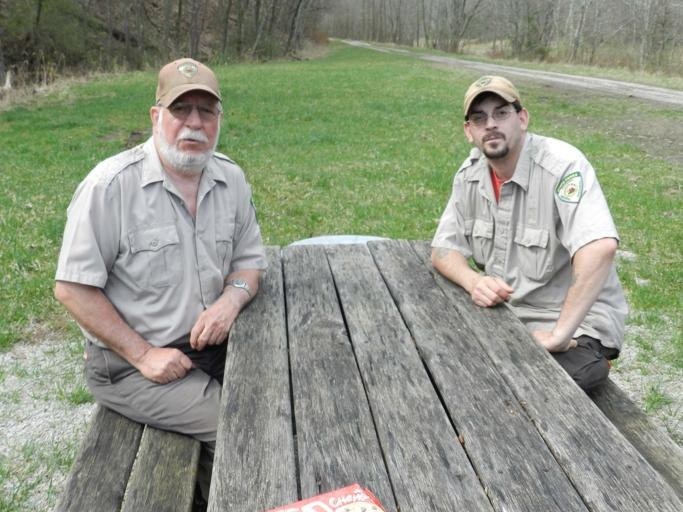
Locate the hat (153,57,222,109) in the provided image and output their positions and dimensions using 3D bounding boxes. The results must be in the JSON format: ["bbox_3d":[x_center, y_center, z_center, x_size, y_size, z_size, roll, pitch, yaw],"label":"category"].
[{"bbox_3d":[-0.906,-1.021,2.659,0.267,0.233,0.372,-1,16,-20],"label":"hat"}]

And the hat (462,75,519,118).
[{"bbox_3d":[0.972,-1.049,2.996,0.233,0.210,0.350,-15,-19,17],"label":"hat"}]
